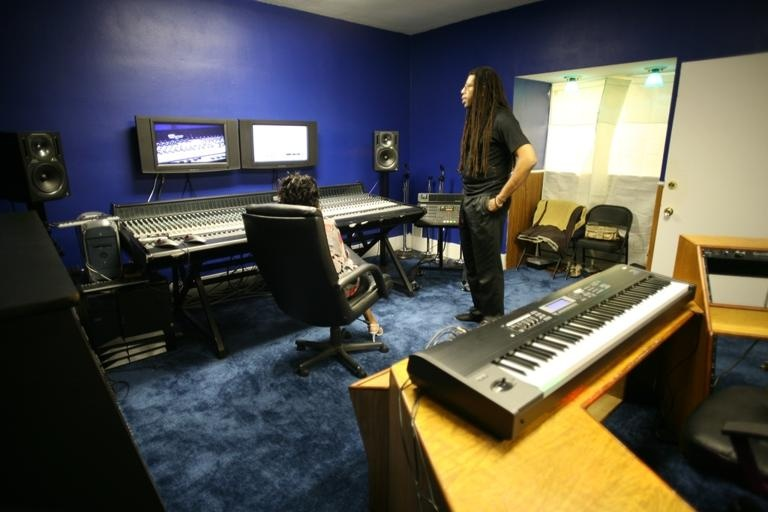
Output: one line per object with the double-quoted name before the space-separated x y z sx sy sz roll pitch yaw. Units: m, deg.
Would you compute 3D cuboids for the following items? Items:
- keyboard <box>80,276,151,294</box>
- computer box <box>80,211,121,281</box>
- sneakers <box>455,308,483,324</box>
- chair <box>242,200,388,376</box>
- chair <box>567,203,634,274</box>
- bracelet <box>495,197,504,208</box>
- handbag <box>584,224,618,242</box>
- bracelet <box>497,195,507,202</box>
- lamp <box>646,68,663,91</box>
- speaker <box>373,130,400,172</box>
"keyboard" -2.035 0.223 3.901 0.463 0.075 0.100 -10 19 -21
"computer box" -2.200 -0.051 3.994 0.271 0.465 0.267 -9 13 -28
"sneakers" 0.734 0.524 4.503 0.277 0.110 0.092 5 11 7
"chair" -0.435 0.202 3.746 0.771 1.253 1.011 6 13 30
"chair" 2.291 -0.091 5.453 0.504 0.849 0.640 10 16 37
"bracelet" 0.894 -0.412 3.971 0.036 0.079 0.059 -31 47 -13
"handbag" 2.285 -0.249 5.409 0.359 0.121 0.185 10 22 35
"bracelet" 0.904 -0.444 3.912 0.059 0.036 0.044 -10 18 -27
"lamp" 2.636 -1.734 5.003 0.166 0.174 0.168 1 13 16
"speaker" 0.013 -1.177 5.750 0.262 0.447 0.181 -1 18 5
